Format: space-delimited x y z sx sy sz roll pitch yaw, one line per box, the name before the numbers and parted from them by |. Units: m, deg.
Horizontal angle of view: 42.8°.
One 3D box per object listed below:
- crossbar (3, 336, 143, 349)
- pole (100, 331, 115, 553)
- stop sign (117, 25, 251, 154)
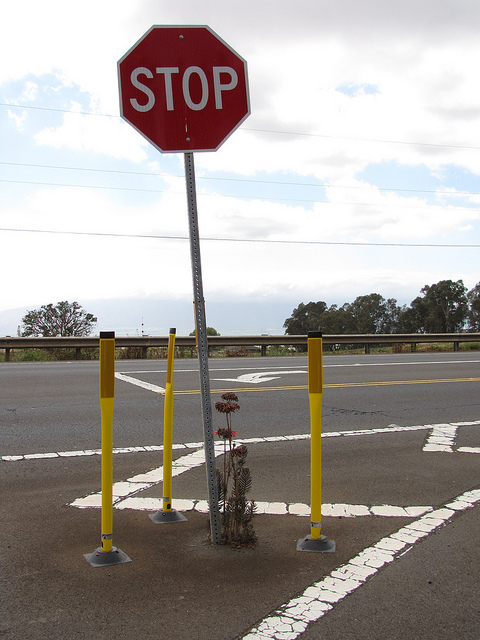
crossbar | -4.958 0.662 18.039 3.788 0.352 0.889 0 0 -27
pole | -0.686 0.636 3.147 0.066 1.149 0.427 0 0 -13
stop sign | -0.306 -1.255 3.351 0.714 0.677 0.090 0 0 -3
